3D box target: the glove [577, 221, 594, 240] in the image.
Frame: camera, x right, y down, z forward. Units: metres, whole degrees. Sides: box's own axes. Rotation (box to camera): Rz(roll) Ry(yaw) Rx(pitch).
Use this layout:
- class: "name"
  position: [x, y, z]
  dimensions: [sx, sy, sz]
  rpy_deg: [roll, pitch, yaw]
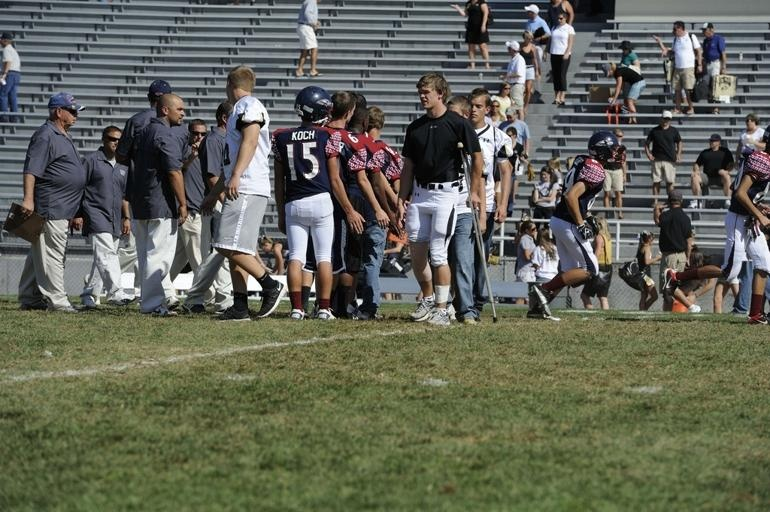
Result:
- class: "glove"
  position: [3.258, -0.349, 23.893]
  dimensions: [0.211, 0.296, 0.142]
  rpy_deg: [-26, 0, 19]

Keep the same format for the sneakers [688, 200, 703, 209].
- class: "sneakers"
  position: [6.602, -1.037, 31.307]
  dimensions: [0.128, 0.180, 0.391]
  rpy_deg: [-4, -7, 40]

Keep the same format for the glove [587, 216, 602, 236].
- class: "glove"
  position: [3.549, -0.469, 25.003]
  dimensions: [0.109, 0.290, 0.197]
  rpy_deg: [-29, 14, -39]

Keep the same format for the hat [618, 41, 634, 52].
- class: "hat"
  position: [5.529, -4.779, 33.732]
  dimensions: [0.357, 0.213, 0.531]
  rpy_deg: [-3, 15, -7]

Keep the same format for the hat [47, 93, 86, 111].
- class: "hat"
  position: [-5.187, -2.489, 24.044]
  dimensions: [0.465, 0.267, 0.712]
  rpy_deg: [2, 0, -9]

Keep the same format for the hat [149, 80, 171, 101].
- class: "hat"
  position: [-3.661, -2.677, 24.061]
  dimensions: [0.302, 0.268, 0.472]
  rpy_deg: [-2, 23, 3]

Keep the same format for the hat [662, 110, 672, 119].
- class: "hat"
  position: [6.019, -2.971, 31.429]
  dimensions: [0.204, 0.129, 0.334]
  rpy_deg: [4, 11, 4]

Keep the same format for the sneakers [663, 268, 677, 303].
- class: "sneakers"
  position: [5.039, 0.574, 26.026]
  dimensions: [0.258, 0.648, 0.208]
  rpy_deg: [-19, 32, -29]

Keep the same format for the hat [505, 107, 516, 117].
- class: "hat"
  position: [2.642, -2.955, 30.582]
  dimensions: [0.143, 0.202, 0.181]
  rpy_deg: [-21, 28, -18]

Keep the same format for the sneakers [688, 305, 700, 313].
- class: "sneakers"
  position: [5.554, 1.012, 26.334]
  dimensions: [0.142, 0.121, 0.342]
  rpy_deg: [25, -4, -6]

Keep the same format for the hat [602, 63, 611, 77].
- class: "hat"
  position: [5.329, -4.409, 35.217]
  dimensions: [0.200, 0.285, 0.266]
  rpy_deg: [-1, -13, -30]

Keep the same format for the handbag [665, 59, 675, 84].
- class: "handbag"
  position: [6.633, -4.279, 34.391]
  dimensions: [0.162, 0.460, 0.348]
  rpy_deg: [0, 1, 1]

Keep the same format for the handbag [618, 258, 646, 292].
- class: "handbag"
  position: [4.807, 0.429, 28.385]
  dimensions: [0.586, 0.565, 0.582]
  rpy_deg: [1, 0, 24]

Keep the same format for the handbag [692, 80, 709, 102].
- class: "handbag"
  position: [7.248, -3.791, 33.946]
  dimensions: [0.399, 0.398, 0.216]
  rpy_deg: [-8, 19, -31]

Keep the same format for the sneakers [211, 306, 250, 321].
- class: "sneakers"
  position: [-2.400, 0.970, 23.088]
  dimensions: [0.508, 0.236, 0.223]
  rpy_deg: [5, -4, -1]

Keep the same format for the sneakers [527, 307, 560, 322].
- class: "sneakers"
  position: [2.592, 0.994, 23.797]
  dimensions: [0.581, 0.254, 0.198]
  rpy_deg: [-5, -1, 37]

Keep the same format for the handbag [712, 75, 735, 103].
- class: "handbag"
  position: [7.790, -3.845, 33.988]
  dimensions: [0.479, 0.509, 0.288]
  rpy_deg: [5, 29, -1]
